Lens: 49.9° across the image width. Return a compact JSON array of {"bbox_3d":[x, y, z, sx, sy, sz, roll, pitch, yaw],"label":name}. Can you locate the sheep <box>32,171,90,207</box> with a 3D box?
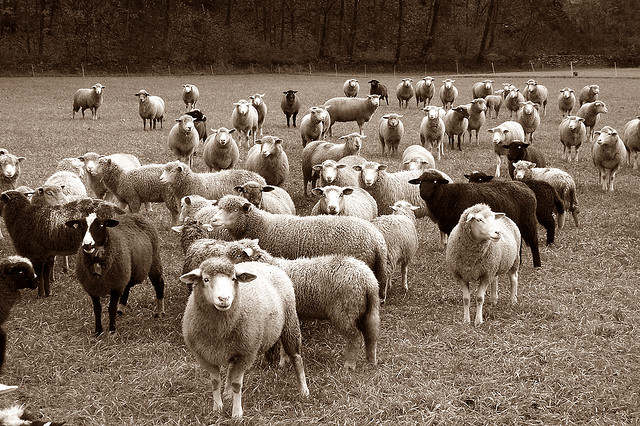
[{"bbox_3d":[-7.211,-0.742,19.369,0.903,1.322,2.596,-4,5,2],"label":"sheep"}]

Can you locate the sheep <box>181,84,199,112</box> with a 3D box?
[{"bbox_3d":[-7.194,-6.438,38.140,0.743,1.378,1.752,-1,12,-12],"label":"sheep"}]

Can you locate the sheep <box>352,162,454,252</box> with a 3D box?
[{"bbox_3d":[2.521,-0.171,20.188,3.956,2.096,1.080,7,-16,-41],"label":"sheep"}]

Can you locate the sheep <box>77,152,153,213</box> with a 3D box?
[{"bbox_3d":[-6.536,-0.840,21.735,1.300,1.943,2.907,8,6,13],"label":"sheep"}]

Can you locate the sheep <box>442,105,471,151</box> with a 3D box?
[{"bbox_3d":[5.743,-3.520,29.103,1.078,1.706,2.597,0,3,4],"label":"sheep"}]

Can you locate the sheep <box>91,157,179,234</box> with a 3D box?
[{"bbox_3d":[-5.338,-0.628,20.307,2.734,1.842,1.089,5,10,-13],"label":"sheep"}]

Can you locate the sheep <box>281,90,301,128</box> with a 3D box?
[{"bbox_3d":[-1.461,-5.182,33.945,0.805,1.750,1.270,1,12,-2],"label":"sheep"}]

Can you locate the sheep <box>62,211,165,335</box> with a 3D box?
[{"bbox_3d":[-4.461,1.266,15.500,1.147,2.644,1.778,11,16,38],"label":"sheep"}]

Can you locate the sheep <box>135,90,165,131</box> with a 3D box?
[{"bbox_3d":[-8.182,-4.988,33.097,0.828,1.816,1.872,3,12,9],"label":"sheep"}]

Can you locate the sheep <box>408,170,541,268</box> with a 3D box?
[{"bbox_3d":[4.143,0.225,18.248,4.040,2.536,1.464,0,5,-25],"label":"sheep"}]

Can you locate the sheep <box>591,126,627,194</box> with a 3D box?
[{"bbox_3d":[9.964,-1.920,23.825,1.082,2.066,1.803,6,13,22],"label":"sheep"}]

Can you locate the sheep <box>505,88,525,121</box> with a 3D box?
[{"bbox_3d":[10.188,-5.603,35.994,0.980,1.639,2.621,3,6,23],"label":"sheep"}]

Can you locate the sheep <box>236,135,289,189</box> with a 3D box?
[{"bbox_3d":[-1.706,-1.625,21.770,0.933,1.636,1.222,-9,16,-38],"label":"sheep"}]

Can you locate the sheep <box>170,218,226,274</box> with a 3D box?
[{"bbox_3d":[-2.685,0.680,15.147,0.898,0.954,1.888,-10,-5,-19],"label":"sheep"}]

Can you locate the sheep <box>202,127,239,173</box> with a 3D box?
[{"bbox_3d":[-3.483,-2.012,24.203,1.389,1.817,2.725,-1,3,-17],"label":"sheep"}]

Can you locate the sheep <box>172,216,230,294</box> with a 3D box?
[{"bbox_3d":[-2.787,0.753,15.415,0.838,1.115,2.097,-5,27,-17],"label":"sheep"}]

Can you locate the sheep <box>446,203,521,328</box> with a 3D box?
[{"bbox_3d":[3.822,1.095,15.865,1.843,2.589,1.171,-8,16,-36],"label":"sheep"}]

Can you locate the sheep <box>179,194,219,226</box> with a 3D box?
[{"bbox_3d":[-3.048,-0.096,17.257,1.158,0.719,0.569,4,6,29],"label":"sheep"}]

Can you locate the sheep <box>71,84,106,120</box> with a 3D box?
[{"bbox_3d":[-12.168,-5.827,36.261,2.793,1.758,1.055,6,6,43],"label":"sheep"}]

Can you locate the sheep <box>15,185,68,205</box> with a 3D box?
[{"bbox_3d":[-7.548,-0.431,18.485,1.377,0.683,0.625,4,6,20],"label":"sheep"}]

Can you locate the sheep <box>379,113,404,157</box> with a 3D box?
[{"bbox_3d":[2.808,-3.100,27.258,0.837,1.639,1.042,1,12,1],"label":"sheep"}]
